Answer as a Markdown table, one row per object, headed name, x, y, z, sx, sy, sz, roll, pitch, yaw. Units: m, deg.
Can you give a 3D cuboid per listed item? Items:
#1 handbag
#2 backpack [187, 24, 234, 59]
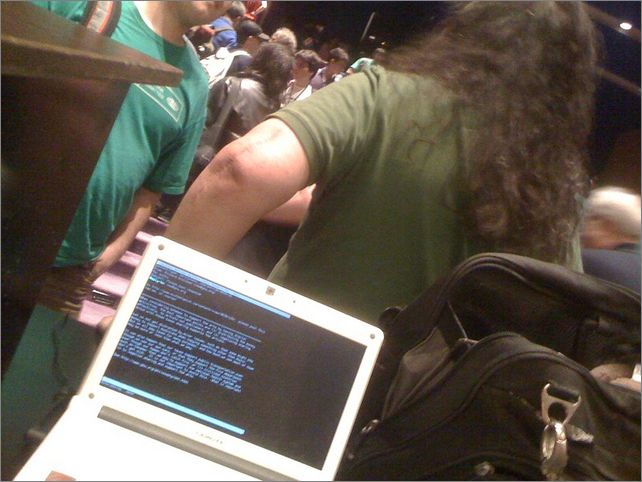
| name | x | y | z | sx | sy | sz | roll | pitch | yaw |
| --- | --- | --- | --- | --- | --- | --- | --- | --- | --- |
| handbag | -0.505 | -0.597 | 2.636 | 0.159 | 0.296 | 0.404 | 13 | 64 | 14 |
| backpack | -0.760 | -1.310 | 3.637 | 0.299 | 0.259 | 0.219 | -6 | 23 | -23 |
